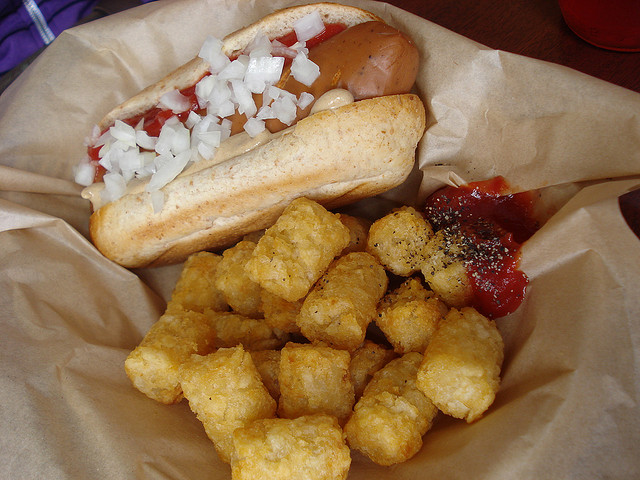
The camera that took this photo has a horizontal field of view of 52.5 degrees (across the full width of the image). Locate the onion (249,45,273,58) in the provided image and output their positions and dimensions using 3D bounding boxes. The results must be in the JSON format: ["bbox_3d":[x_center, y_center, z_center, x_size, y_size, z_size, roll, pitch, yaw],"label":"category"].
[{"bbox_3d":[-0.223,-0.700,2.409,0.063,0.016,0.059,-8,53,-2],"label":"onion"}]

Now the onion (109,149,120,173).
[{"bbox_3d":[-0.798,-0.308,2.526,0.059,0.022,0.073,3,95,40],"label":"onion"}]

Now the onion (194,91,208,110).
[{"bbox_3d":[-0.449,-0.533,2.492,0.047,0.016,0.056,-30,94,33],"label":"onion"}]

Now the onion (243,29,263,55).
[{"bbox_3d":[-0.257,-0.754,2.488,0.103,0.032,0.097,-38,37,24],"label":"onion"}]

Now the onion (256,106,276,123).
[{"bbox_3d":[-0.205,-0.464,2.383,0.068,0.032,0.045,-19,77,-1],"label":"onion"}]

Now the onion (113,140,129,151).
[{"bbox_3d":[-0.765,-0.367,2.497,0.042,0.012,0.040,3,98,-7],"label":"onion"}]

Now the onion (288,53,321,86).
[{"bbox_3d":[-0.052,-0.619,2.373,0.104,0.080,0.111,-43,78,-6],"label":"onion"}]

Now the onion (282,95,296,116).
[{"bbox_3d":[-0.117,-0.491,2.362,0.042,0.033,0.069,-34,77,-4],"label":"onion"}]

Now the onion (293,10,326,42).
[{"bbox_3d":[-0.042,-0.833,2.515,0.147,0.064,0.082,-40,78,-6],"label":"onion"}]

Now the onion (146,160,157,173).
[{"bbox_3d":[-0.639,-0.282,2.471,0.051,0.016,0.048,-27,58,19],"label":"onion"}]

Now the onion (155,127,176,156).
[{"bbox_3d":[-0.576,-0.367,2.423,0.067,0.035,0.105,24,95,7],"label":"onion"}]

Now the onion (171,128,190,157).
[{"bbox_3d":[-0.518,-0.369,2.417,0.071,0.020,0.091,19,89,2],"label":"onion"}]

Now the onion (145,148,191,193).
[{"bbox_3d":[-0.557,-0.259,2.416,0.223,0.048,0.055,-41,78,-6],"label":"onion"}]

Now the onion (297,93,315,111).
[{"bbox_3d":[-0.058,-0.506,2.349,0.047,0.016,0.052,21,99,3],"label":"onion"}]

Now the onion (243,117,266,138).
[{"bbox_3d":[-0.239,-0.420,2.386,0.071,0.034,0.061,-42,78,-6],"label":"onion"}]

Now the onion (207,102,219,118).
[{"bbox_3d":[-0.399,-0.488,2.422,0.048,0.044,0.013,6,33,26],"label":"onion"}]

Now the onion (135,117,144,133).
[{"bbox_3d":[-0.716,-0.457,2.577,0.029,0.095,0.024,32,109,-11],"label":"onion"}]

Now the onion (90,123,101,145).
[{"bbox_3d":[-0.932,-0.440,2.694,0.057,0.026,0.067,8,91,-13],"label":"onion"}]

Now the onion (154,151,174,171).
[{"bbox_3d":[-0.587,-0.297,2.431,0.072,0.019,0.063,-21,55,15],"label":"onion"}]

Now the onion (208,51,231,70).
[{"bbox_3d":[-0.386,-0.685,2.491,0.072,0.028,0.066,30,85,7],"label":"onion"}]

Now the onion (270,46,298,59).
[{"bbox_3d":[-0.140,-0.712,2.457,0.089,0.020,0.045,6,45,9],"label":"onion"}]

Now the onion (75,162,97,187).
[{"bbox_3d":[-0.953,-0.271,2.653,0.082,0.053,0.096,8,99,-3],"label":"onion"}]
